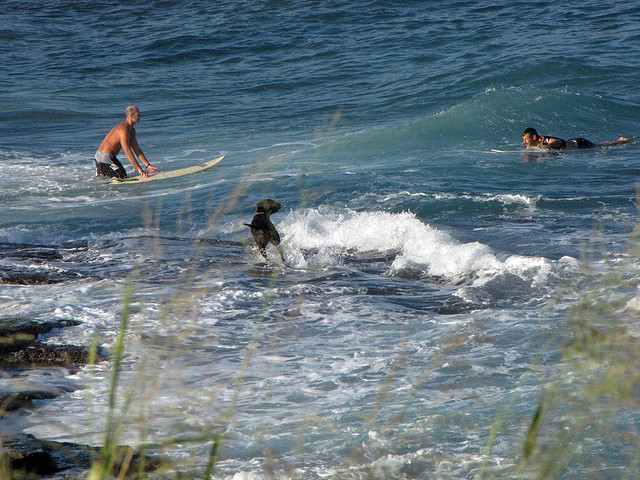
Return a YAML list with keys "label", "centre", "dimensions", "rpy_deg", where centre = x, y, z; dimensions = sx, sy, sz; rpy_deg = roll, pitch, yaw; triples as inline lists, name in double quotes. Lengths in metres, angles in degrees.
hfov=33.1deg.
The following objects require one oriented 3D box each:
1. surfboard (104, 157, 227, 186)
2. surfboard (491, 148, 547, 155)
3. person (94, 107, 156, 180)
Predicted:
- label: "surfboard"
  centre: [-4.534, -1.973, 31.784]
  dimensions: [5.074, 0.403, 0.746]
  rpy_deg: [-16, 23, -42]
- label: "surfboard"
  centre: [5.914, -2.618, 32.483]
  dimensions: [1.689, 0.356, 0.232]
  rpy_deg: [6, -24, 43]
- label: "person"
  centre: [-5.661, -2.778, 31.115]
  dimensions: [1.673, 2.163, 0.638]
  rpy_deg: [10, 18, 25]
